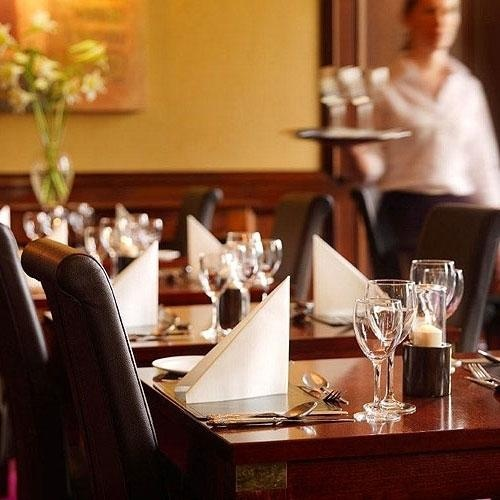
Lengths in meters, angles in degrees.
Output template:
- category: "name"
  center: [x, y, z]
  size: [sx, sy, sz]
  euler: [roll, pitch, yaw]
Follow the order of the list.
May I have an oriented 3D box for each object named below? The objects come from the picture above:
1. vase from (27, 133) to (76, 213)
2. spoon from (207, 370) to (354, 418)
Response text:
- category: "vase"
  center: [-0.643, -0.243, 1.954]
  size: [0.139, 0.269, 0.149]
  euler: [-11, 33, -26]
- category: "spoon"
  center: [0.058, 0.191, 0.816]
  size: [0.192, 0.020, 0.066]
  euler: [1, 12, -35]
